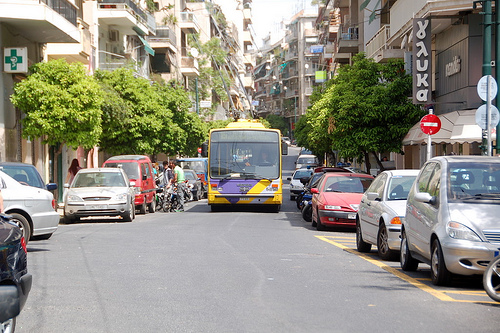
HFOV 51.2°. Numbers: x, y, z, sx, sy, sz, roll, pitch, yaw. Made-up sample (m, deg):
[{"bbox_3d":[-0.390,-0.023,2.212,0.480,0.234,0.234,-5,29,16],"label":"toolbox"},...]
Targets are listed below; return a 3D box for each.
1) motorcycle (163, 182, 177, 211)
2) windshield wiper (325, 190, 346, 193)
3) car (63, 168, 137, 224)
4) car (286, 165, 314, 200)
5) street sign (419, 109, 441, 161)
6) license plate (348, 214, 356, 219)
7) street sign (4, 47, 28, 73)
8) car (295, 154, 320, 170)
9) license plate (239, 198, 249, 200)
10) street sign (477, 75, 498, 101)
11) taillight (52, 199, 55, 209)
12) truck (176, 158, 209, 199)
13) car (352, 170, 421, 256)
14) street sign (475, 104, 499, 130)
[{"bbox_3d":[-4.263,1.593,27.658,0.673,1.513,0.384,-1,2,-10],"label":"motorcycle"},{"bbox_3d":[3.111,0.918,18.982,0.442,0.069,0.031,6,-29,-1],"label":"windshield wiper"},{"bbox_3d":[-6.208,1.117,21.871,1.690,1.379,3.087,0,-7,-5],"label":"car"},{"bbox_3d":[3.894,1.189,37.563,1.990,2.081,4.261,-3,1,18],"label":"car"},{"bbox_3d":[6.830,-1.084,19.738,0.745,2.391,0.190,4,37,20],"label":"street sign"},{"bbox_3d":[3.460,1.690,17.688,0.235,0.155,0.050,0,2,2],"label":"license plate"},{"bbox_3d":[-11.148,-5.047,25.173,1.118,1.160,0.310,0,-4,0],"label":"street sign"},{"bbox_3d":[6.277,-0.384,55.644,1.935,1.877,3.653,-1,-6,-1],"label":"car"},{"bbox_3d":[-0.274,1.546,24.791,0.442,0.097,0.020,0,2,-2],"label":"license plate"},{"bbox_3d":[7.396,-2.418,16.226,0.406,0.838,0.742,1,2,42],"label":"street sign"},{"bbox_3d":[-5.092,0.970,13.522,0.045,0.262,0.303,-1,2,-17],"label":"taillight"},{"bbox_3d":[-4.383,0.304,40.832,2.340,2.681,4.597,1,12,-1],"label":"truck"},{"bbox_3d":[3.519,1.064,12.836,1.183,1.148,2.279,1,-4,-6],"label":"car"},{"bbox_3d":[7.313,-1.527,16.032,0.757,0.836,0.183,8,3,-12],"label":"street sign"}]
